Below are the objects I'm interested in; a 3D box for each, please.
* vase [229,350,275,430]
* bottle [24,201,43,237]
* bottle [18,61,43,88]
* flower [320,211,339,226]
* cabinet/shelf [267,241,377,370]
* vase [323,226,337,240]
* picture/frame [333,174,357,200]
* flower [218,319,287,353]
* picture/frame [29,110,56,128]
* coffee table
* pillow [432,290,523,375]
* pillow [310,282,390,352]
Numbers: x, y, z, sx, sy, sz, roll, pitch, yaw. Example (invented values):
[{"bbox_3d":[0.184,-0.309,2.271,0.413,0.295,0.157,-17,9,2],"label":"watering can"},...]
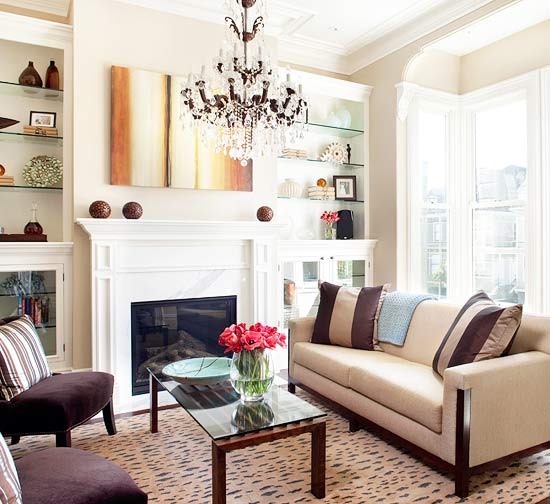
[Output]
[{"bbox_3d":[-0.138,0.770,2.710,0.243,0.386,0.240,-3,-8,-7],"label":"vase"},{"bbox_3d":[-1.924,-0.252,3.745,0.138,0.253,0.404,-3,6,-26],"label":"bottle"},{"bbox_3d":[-1.978,-1.433,3.806,0.183,0.259,0.291,-3,6,-28],"label":"bottle"},{"bbox_3d":[0.583,-0.348,5.058,0.165,0.159,0.166,-4,2,5],"label":"flower"},{"bbox_3d":[0.348,0.469,4.056,1.170,1.268,0.477,1,-3,-17],"label":"cabinet/shelf"},{"bbox_3d":[0.587,-0.201,5.146,0.141,0.246,0.142,1,-1,3],"label":"vase"},{"bbox_3d":[0.753,-0.692,5.137,0.280,0.305,0.022,-1,-3,-5],"label":"picture/frame"},{"bbox_3d":[-0.148,0.436,2.666,0.234,0.103,0.238,4,3,41],"label":"flower"},{"bbox_3d":[-1.917,-1.082,3.861,0.199,0.145,0.022,0,-17,-12],"label":"picture/frame"},{"bbox_3d":[-0.232,1.045,2.734,0.667,0.444,1.027,-3,6,-33],"label":"coffee table"},{"bbox_3d":[1.196,0.537,2.859,0.373,0.509,0.503,0,5,-2],"label":"pillow"},{"bbox_3d":[0.590,0.529,3.691,0.443,0.426,0.163,5,-20,27],"label":"pillow"}]
